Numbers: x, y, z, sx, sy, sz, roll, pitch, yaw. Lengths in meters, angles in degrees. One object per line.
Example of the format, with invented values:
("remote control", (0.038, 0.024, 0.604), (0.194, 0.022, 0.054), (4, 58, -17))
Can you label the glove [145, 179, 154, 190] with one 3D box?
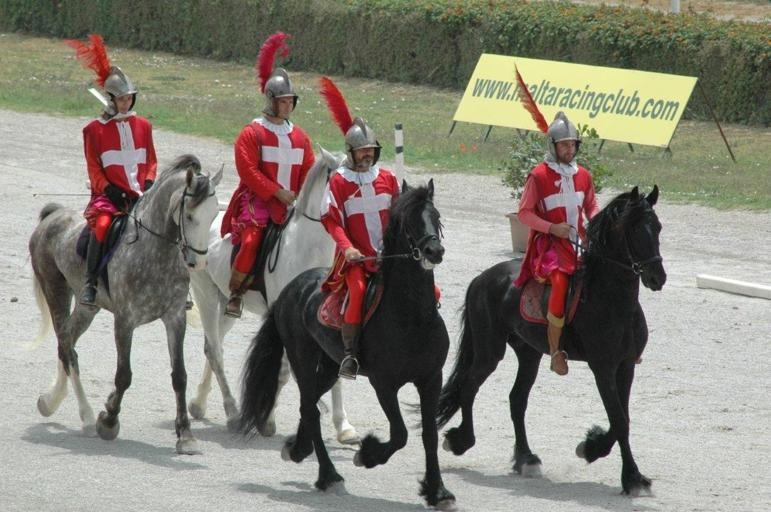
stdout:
("glove", (-4.410, -1.361, 31.396), (0.153, 0.186, 0.171), (3, -3, -28))

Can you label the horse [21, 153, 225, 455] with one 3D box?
("horse", (-4.751, 0.611, 30.784), (3.981, 5.174, 1.630), (13, 14, 23))

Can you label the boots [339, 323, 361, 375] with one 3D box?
("boots", (-0.620, 1.641, 29.313), (0.412, 0.937, 0.312), (9, 13, 3))
